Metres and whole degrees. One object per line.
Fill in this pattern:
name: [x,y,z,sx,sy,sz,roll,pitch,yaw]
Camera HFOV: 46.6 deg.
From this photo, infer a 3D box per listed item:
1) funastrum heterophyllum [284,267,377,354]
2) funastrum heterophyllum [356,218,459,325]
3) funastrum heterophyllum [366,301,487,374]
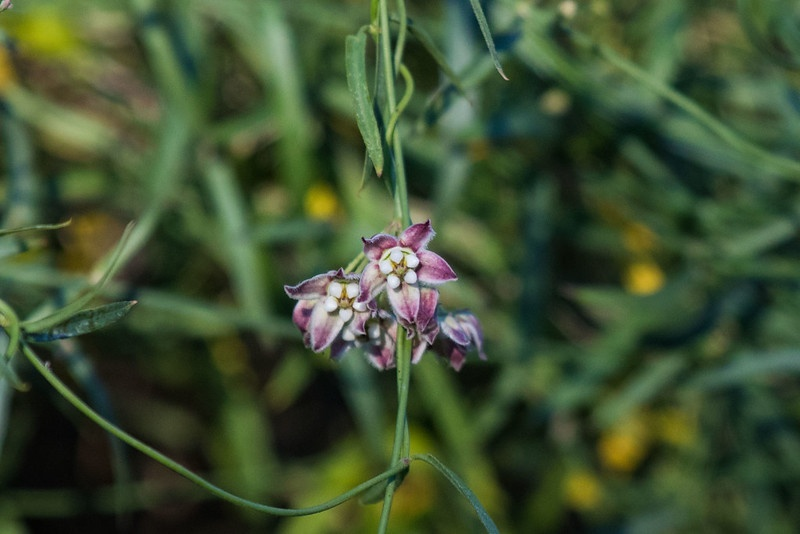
funastrum heterophyllum: [-0.142,0.082,1.851,0.147,0.181,0.063,12,25,19]
funastrum heterophyllum: [0.014,-0.010,1.769,0.174,0.209,0.089,9,7,-3]
funastrum heterophyllum: [0.056,0.145,1.883,0.170,0.074,0.148,-8,7,-21]
